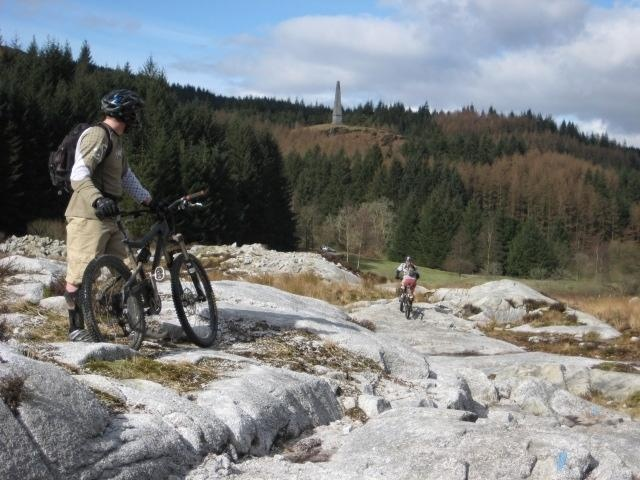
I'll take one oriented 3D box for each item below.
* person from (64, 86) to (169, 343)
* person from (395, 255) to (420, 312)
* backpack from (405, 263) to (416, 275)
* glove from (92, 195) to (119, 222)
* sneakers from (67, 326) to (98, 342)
[{"bbox_3d":[-2.628,-0.367,8.317,0.739,2.936,1.165,7,8,27],"label":"person"},{"bbox_3d":[2.649,1.475,20.784,0.671,1.139,1.715,3,13,1],"label":"person"},{"bbox_3d":[2.871,0.945,21.541,0.315,0.545,0.264,3,8,3],"label":"backpack"},{"bbox_3d":[-2.519,-0.366,8.034,0.299,0.304,0.414,1,9,-20],"label":"glove"},{"bbox_3d":[-2.768,1.119,7.946,0.195,0.106,0.183,16,4,9],"label":"sneakers"}]
